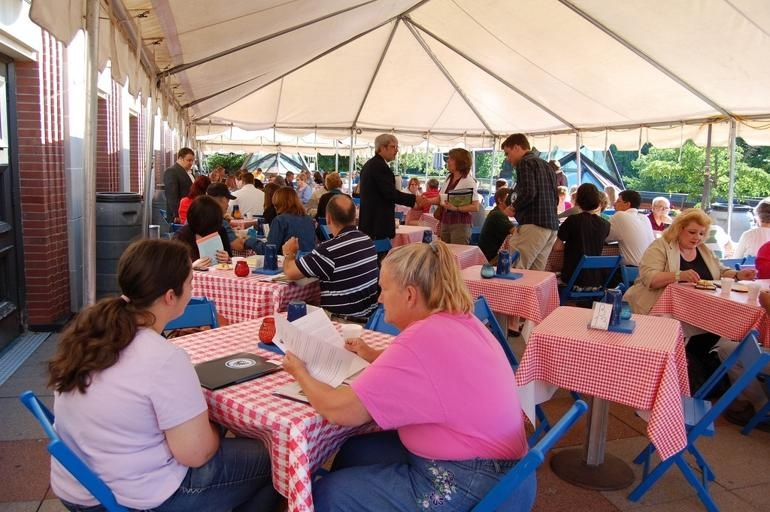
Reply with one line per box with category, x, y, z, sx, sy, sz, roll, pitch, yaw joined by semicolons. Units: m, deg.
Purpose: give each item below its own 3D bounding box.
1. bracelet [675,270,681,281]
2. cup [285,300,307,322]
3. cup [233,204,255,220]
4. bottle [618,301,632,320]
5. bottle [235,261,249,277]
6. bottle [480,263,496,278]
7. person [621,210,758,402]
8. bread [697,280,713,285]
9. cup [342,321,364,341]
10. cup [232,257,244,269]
bracelet;2.489;0.176;4.513;0.052;0.076;0.072;4;0;22
cup;-0.490;0.301;3.005;0.110;0.105;0.110;1;11;0
cup;-2.208;-0.668;8.212;0.209;0.329;0.331;-3;-5;41
bottle;1.579;0.355;3.485;0.110;0.110;0.111;1;2;39
bottle;-1.134;0.105;4.306;0.117;0.114;0.114;-6;15;-29
bottle;0.928;0.131;4.732;0.127;0.122;0.128;0;1;4
person;2.699;0.417;4.683;0.770;1.564;0.990;0;-1;-20
bread;2.639;0.227;4.371;0.080;0.029;0.080;-6;6;-35
cup;-0.172;0.415;2.960;0.086;0.087;0.083;1;8;0
cup;-1.234;0.057;4.468;0.092;0.090;0.112;0;-1;-3
